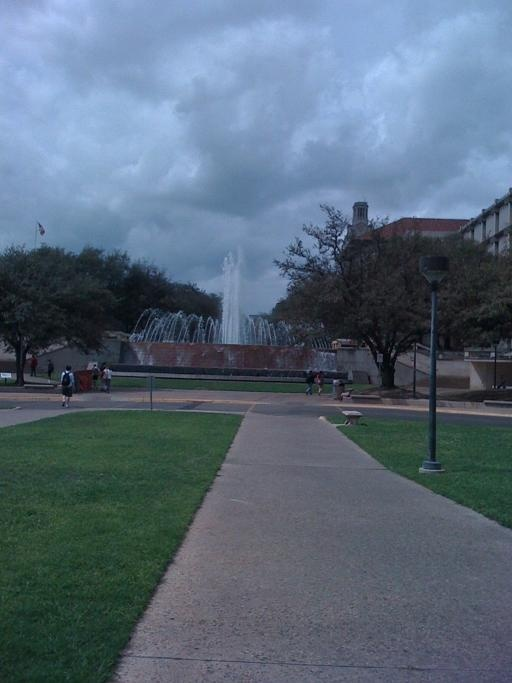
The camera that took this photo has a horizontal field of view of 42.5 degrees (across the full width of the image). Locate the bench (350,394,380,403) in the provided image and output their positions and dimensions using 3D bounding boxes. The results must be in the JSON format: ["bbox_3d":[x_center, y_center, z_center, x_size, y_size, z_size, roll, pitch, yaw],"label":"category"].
[{"bbox_3d":[5.794,3.040,34.470,1.523,0.263,5.401,-2,-4,9],"label":"bench"}]

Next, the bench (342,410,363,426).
[{"bbox_3d":[2.901,2.307,19.778,0.644,0.449,0.553,1,-7,-1],"label":"bench"}]

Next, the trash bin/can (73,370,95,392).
[{"bbox_3d":[-9.412,2.224,36.114,1.084,0.750,1.077,-3,1,-4],"label":"trash bin/can"}]
